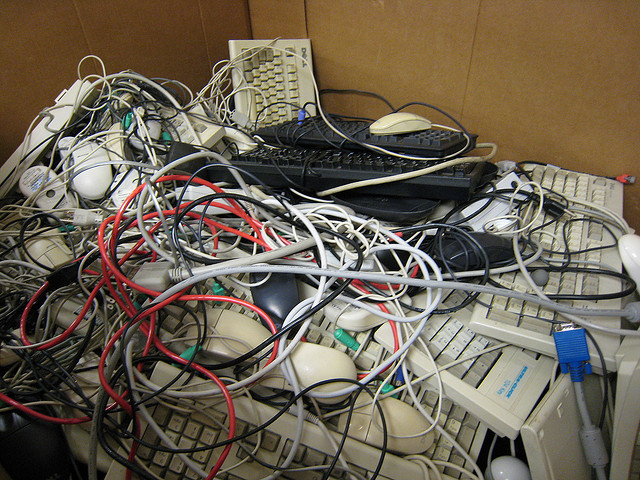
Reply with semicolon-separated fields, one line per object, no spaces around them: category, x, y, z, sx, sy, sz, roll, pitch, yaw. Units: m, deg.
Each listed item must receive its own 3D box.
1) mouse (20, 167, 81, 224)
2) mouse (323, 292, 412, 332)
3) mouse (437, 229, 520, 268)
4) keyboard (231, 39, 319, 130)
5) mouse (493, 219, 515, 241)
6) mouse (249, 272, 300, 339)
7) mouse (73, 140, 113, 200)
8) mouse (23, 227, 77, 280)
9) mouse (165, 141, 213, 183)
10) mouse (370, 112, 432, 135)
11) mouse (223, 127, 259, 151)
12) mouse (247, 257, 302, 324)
mouse;-0.597;-0.087;1.270;0.172;0.040;0.089;40;63;3
mouse;0.077;0.146;1.077;0.083;0.028;0.116;8;13;44
mouse;0.314;0.016;1.136;0.191;0.046;0.098;-3;28;-17
keyboard;-0.115;-0.424;1.479;0.248;0.237;0.123;-7;22;-28
mouse;0.401;-0.026;1.189;0.030;0.037;0.010;19;-6;35
mouse;-0.084;0.116;1.032;0.085;0.136;0.035;-7;-23;-2
mouse;-0.519;-0.161;1.260;0.083;0.123;0.102;-5;20;-22
mouse;-0.576;0.026;1.180;0.083;0.038;0.133;-36;75;-20
mouse;-0.289;-0.173;1.224;0.096;0.086;0.083;-4;20;-21
mouse;0.196;-0.276;1.284;0.110;0.028;0.063;-6;21;-23
mouse;-0.190;-0.248;1.354;0.081;0.044;0.023;27;-7;-6
mouse;-0.084;0.106;1.029;0.096;0.138;0.041;-13;-14;2
